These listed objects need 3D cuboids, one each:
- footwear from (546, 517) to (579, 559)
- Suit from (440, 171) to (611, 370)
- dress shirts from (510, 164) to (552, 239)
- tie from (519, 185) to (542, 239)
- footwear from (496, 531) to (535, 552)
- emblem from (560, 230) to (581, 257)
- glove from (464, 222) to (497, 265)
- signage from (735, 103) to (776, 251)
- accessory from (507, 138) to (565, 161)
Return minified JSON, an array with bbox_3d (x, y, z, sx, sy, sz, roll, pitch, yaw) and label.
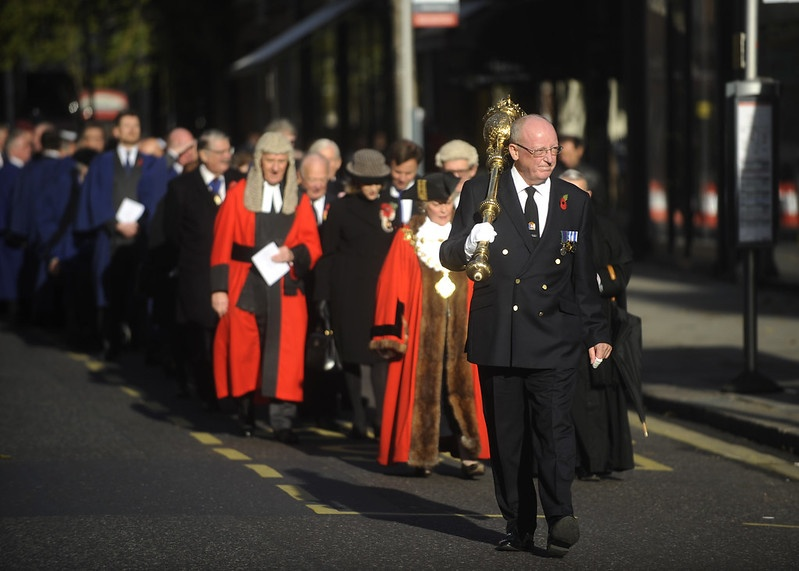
[{"bbox_3d":[1.050,1.653,8.366,0.137,0.325,0.152,24,31,-12],"label":"footwear"},{"bbox_3d":[0.861,-0.051,8.692,1.435,1.646,0.882,1,-5,-3],"label":"Suit"},{"bbox_3d":[0.908,-0.563,8.427,0.208,0.448,0.106,0,4,0],"label":"dress shirts"},{"bbox_3d":[0.898,-0.492,8.451,0.108,0.323,0.100,1,9,6],"label":"tie"},{"bbox_3d":[0.799,1.745,8.623,0.285,0.130,0.106,4,-6,-2],"label":"footwear"},{"bbox_3d":[1.154,-0.286,8.474,0.156,0.163,0.022,4,9,-27],"label":"emblem"},{"bbox_3d":[0.527,-0.306,8.257,0.108,0.098,0.373,17,41,5],"label":"glove"},{"bbox_3d":[3.561,-1.123,12.550,0.408,1.392,0.219,2,9,12],"label":"signage"},{"bbox_3d":[0.917,-0.910,8.439,0.338,0.098,0.138,1,10,6],"label":"accessory"}]
